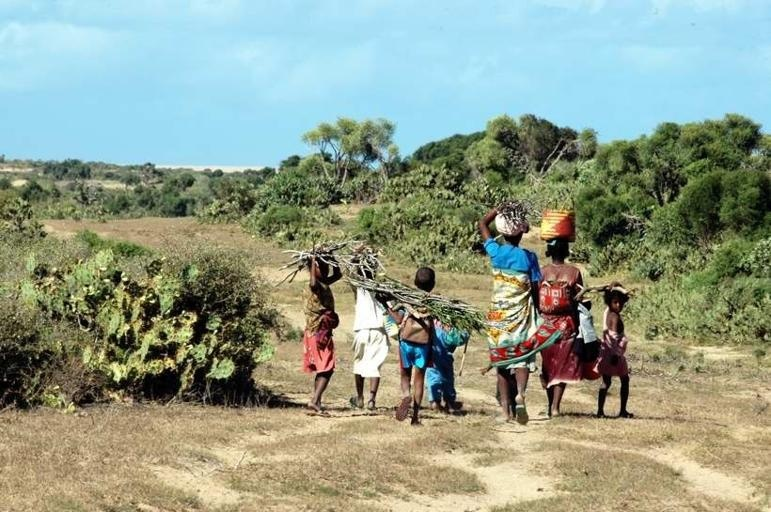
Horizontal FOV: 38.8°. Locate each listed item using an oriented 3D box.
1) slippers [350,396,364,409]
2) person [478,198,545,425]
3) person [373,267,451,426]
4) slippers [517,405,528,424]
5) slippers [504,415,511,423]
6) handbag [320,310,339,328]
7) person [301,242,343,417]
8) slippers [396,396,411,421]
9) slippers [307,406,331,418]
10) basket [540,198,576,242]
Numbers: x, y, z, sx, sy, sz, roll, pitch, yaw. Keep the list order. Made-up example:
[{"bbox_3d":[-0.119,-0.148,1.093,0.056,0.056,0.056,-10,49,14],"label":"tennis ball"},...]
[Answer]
[{"bbox_3d":[-0.524,2.586,19.112,0.136,0.252,0.220,0,-1,-39],"label":"slippers"},{"bbox_3d":[2.068,0.986,18.303,1.091,3.626,0.928,7,10,32],"label":"person"},{"bbox_3d":[0.432,1.503,18.518,0.756,2.573,1.556,2,9,1],"label":"person"},{"bbox_3d":[2.251,2.578,18.004,0.140,0.377,0.152,-8,31,10],"label":"slippers"},{"bbox_3d":[2.060,2.754,18.390,0.086,0.095,0.022,7,-16,10],"label":"slippers"},{"bbox_3d":[-0.918,1.095,18.541,0.351,0.298,0.151,-5,11,-37],"label":"handbag"},{"bbox_3d":[-1.089,1.278,18.585,0.591,2.741,0.716,2,9,1],"label":"person"},{"bbox_3d":[0.298,2.513,18.035,0.215,0.447,0.170,15,5,21],"label":"slippers"},{"bbox_3d":[-1.134,2.675,18.498,0.464,0.172,0.211,2,16,21],"label":"slippers"},{"bbox_3d":[2.974,-0.617,18.628,0.577,0.727,0.625,2,-8,-1],"label":"basket"}]
